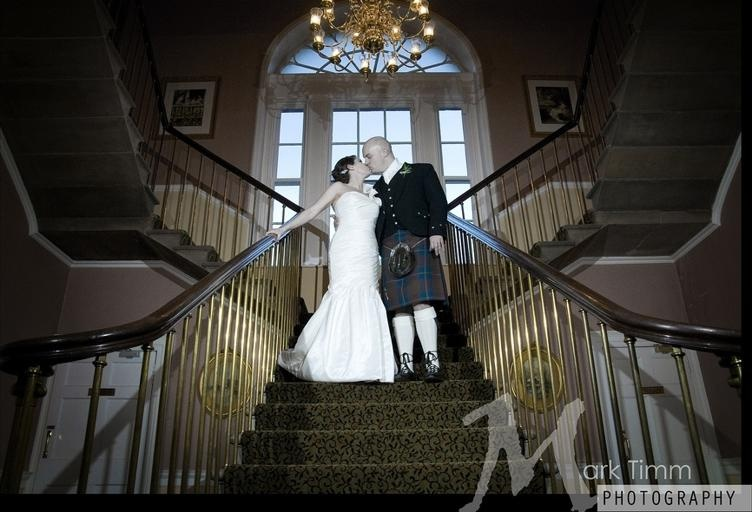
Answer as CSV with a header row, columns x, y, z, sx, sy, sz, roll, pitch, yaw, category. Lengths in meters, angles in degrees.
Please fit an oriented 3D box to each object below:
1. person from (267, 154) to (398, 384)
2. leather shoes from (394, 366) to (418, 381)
x,y,z,sx,sy,sz,roll,pitch,yaw,category
-0.289,0.144,3.521,0.786,1.597,0.380,3,-14,-12,person
0.209,0.857,3.349,0.140,0.120,0.252,0,2,0,leather shoes
